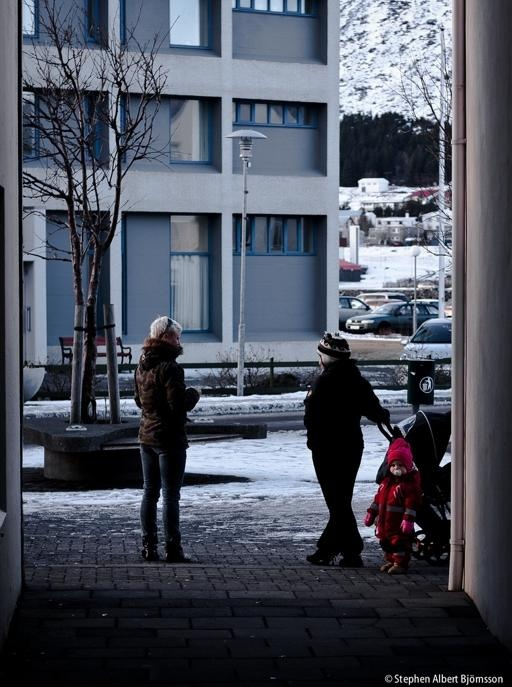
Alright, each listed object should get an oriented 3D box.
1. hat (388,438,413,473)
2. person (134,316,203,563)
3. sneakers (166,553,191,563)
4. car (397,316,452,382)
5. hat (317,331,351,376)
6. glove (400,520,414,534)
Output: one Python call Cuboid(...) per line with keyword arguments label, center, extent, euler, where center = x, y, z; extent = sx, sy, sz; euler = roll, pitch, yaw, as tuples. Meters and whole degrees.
Cuboid(label="hat", center=(0.915, 0.714, 7.884), extent=(0.117, 0.181, 0.195), euler=(7, -15, 5))
Cuboid(label="person", center=(-0.631, 0.665, 8.351), extent=(0.488, 1.644, 0.399), euler=(1, 6, 42))
Cuboid(label="sneakers", center=(-0.518, 1.428, 8.263), extent=(0.156, 0.061, 0.085), euler=(-5, 6, -5))
Cuboid(label="car", center=(3.558, 0.025, 25.834), extent=(1.094, 1.276, 2.119), euler=(-1, -5, 10))
Cuboid(label="hat", center=(0.509, 0.069, 8.405), extent=(0.178, 0.272, 0.248), euler=(4, 10, -12))
Cuboid(label="glove", center=(0.956, 1.157, 7.861), extent=(0.067, 0.088, 0.072), euler=(-1, -2, 33))
